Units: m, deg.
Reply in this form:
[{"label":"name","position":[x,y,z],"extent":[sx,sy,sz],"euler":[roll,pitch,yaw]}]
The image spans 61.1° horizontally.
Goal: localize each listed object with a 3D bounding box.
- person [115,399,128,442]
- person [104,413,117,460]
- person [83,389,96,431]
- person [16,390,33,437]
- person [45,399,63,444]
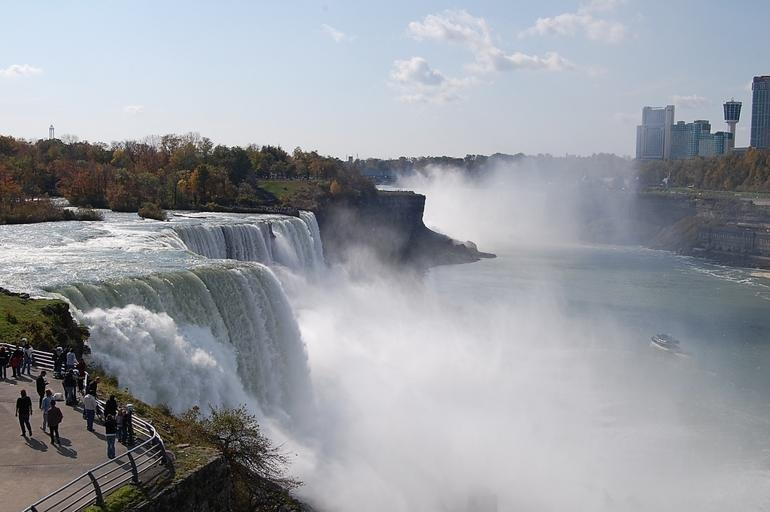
[{"label":"person","position":[-7.601,4.898,18.922],"extent":[0.317,1.040,0.432],"euler":[-4,12,-24]},{"label":"person","position":[-7.701,5.044,18.367],"extent":[0.292,1.157,0.676],"euler":[-4,12,-24]},{"label":"person","position":[-8.699,4.560,19.224],"extent":[0.294,1.129,0.433],"euler":[-4,12,-24]},{"label":"person","position":[-10.478,4.448,18.920],"extent":[0.344,1.381,0.852],"euler":[-6,13,-32]},{"label":"person","position":[-9.462,4.715,18.632],"extent":[0.310,1.237,0.540],"euler":[-6,13,-35]}]
